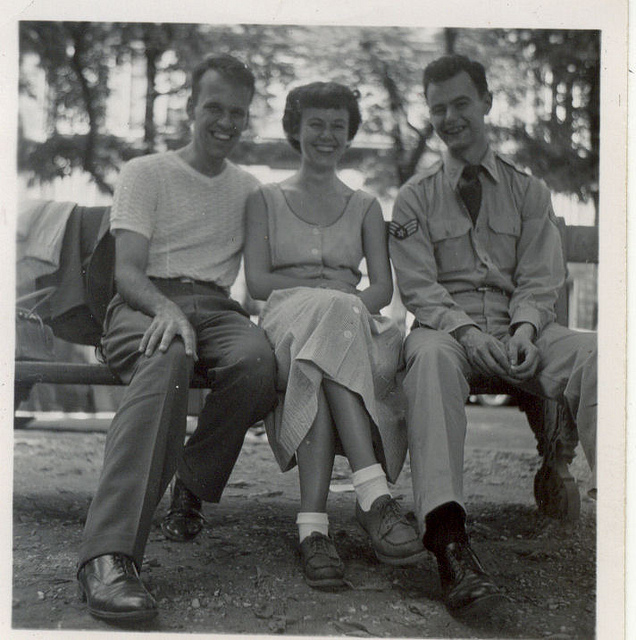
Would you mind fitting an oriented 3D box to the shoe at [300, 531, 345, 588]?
[{"bbox_3d":[0.003,0.732,2.895,0.117,0.123,0.288,0,-2,-10],"label":"shoe"}]

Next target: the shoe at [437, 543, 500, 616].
[{"bbox_3d":[0.432,0.751,2.712,0.116,0.178,0.179,-2,6,-23],"label":"shoe"}]

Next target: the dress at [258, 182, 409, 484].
[{"bbox_3d":[0.045,0.031,3.259,0.502,0.967,0.692,0,6,-4],"label":"dress"}]

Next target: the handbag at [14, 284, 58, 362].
[{"bbox_3d":[-1.118,0.011,3.759,0.156,0.299,0.391,-1,6,-16],"label":"handbag"}]

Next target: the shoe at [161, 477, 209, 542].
[{"bbox_3d":[-0.477,0.665,3.321,0.129,0.171,0.207,1,6,-1],"label":"shoe"}]

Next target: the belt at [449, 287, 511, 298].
[{"bbox_3d":[0.611,-0.103,3.516,0.224,0.034,0.019,1,5,-2],"label":"belt"}]
